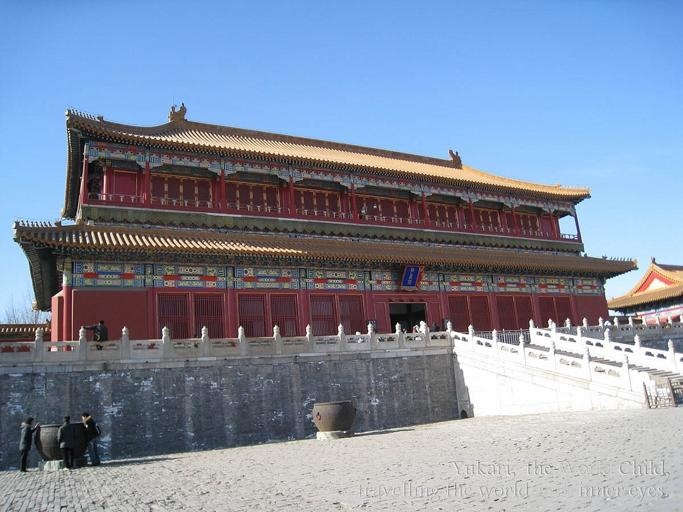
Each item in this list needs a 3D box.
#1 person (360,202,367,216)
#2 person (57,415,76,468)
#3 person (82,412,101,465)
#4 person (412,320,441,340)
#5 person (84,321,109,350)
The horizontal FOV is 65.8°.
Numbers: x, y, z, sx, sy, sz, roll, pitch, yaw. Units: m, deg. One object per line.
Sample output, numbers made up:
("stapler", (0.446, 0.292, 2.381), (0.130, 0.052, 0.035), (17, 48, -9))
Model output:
("person", (1.139, -2.496, 28.039), (0.352, 0.802, 0.625), (-7, -14, 7))
("person", (-6.997, 4.725, 13.382), (0.400, 1.282, 0.729), (2, -16, -27))
("person", (-6.843, 4.944, 14.412), (0.425, 1.357, 1.605), (1, -14, -24))
("person", (3.330, 3.157, 22.780), (0.703, 0.920, 2.057), (10, -14, -33))
("person", (-8.245, 2.643, 17.676), (1.005, 1.004, 0.553), (2, -37, -31))
